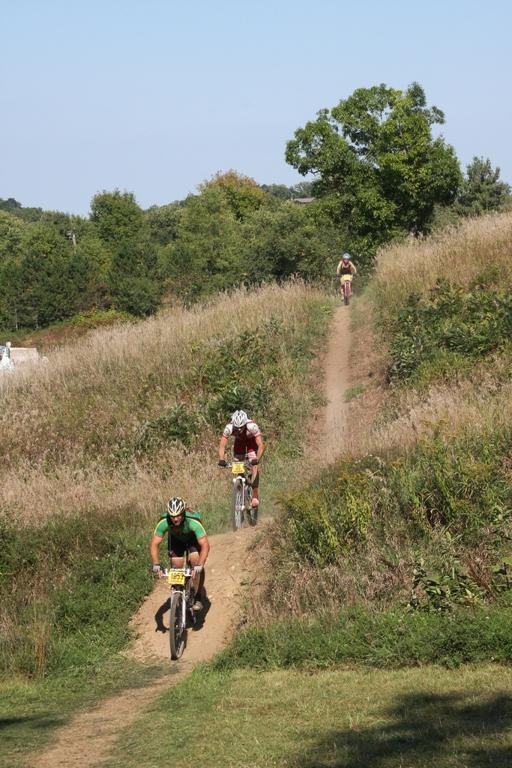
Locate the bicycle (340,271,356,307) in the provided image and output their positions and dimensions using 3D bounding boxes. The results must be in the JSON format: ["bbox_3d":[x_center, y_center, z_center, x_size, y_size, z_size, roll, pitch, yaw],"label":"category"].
[{"bbox_3d":[2.354,-2.523,31.454,0.308,0.599,0.870,-1,6,2],"label":"bicycle"}]

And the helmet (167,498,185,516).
[{"bbox_3d":[-0.856,1.327,12.789,0.116,0.122,0.216,1,30,-1],"label":"helmet"}]

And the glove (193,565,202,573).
[{"bbox_3d":[-0.616,1.955,12.688,0.048,0.087,0.021,-7,15,0],"label":"glove"}]

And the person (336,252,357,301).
[{"bbox_3d":[2.347,-2.843,31.752,0.622,1.016,1.404,0,7,2],"label":"person"}]

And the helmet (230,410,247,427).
[{"bbox_3d":[-0.227,0.473,15.858,0.222,0.233,0.350,-9,10,-3],"label":"helmet"}]

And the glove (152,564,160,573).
[{"bbox_3d":[-1.055,1.952,12.692,0.047,0.029,0.077,-4,-36,3],"label":"glove"}]

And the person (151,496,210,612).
[{"bbox_3d":[-0.809,1.857,13.171,0.525,1.494,0.899,-3,23,1],"label":"person"}]

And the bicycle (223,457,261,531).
[{"bbox_3d":[-0.152,1.488,16.289,0.470,0.931,1.310,-1,2,11],"label":"bicycle"}]

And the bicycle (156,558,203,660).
[{"bbox_3d":[-0.831,2.392,13.081,0.354,1.005,1.185,-7,10,-6],"label":"bicycle"}]
